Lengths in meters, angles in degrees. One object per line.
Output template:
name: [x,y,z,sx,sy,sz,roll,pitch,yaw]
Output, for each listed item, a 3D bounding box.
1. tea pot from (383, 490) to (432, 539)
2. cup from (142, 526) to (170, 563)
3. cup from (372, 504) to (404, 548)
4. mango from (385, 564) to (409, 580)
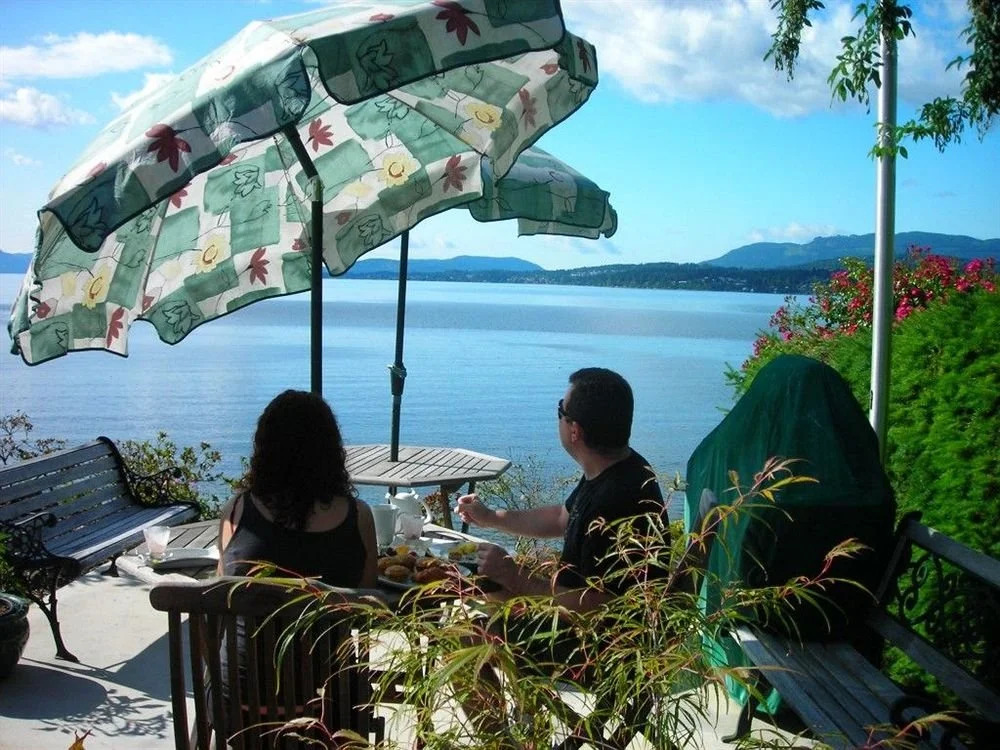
tea pot: [-0.424,0.638,3.687,0.206,0.228,0.140,2,-5,-9]
cup: [-1.474,0.720,3.464,0.120,0.126,0.123,0,-2,0]
cup: [-0.500,0.658,3.532,0.161,0.174,0.106,2,4,13]
mango: [-0.396,0.746,3.098,0.053,0.033,0.057,4,4,8]
